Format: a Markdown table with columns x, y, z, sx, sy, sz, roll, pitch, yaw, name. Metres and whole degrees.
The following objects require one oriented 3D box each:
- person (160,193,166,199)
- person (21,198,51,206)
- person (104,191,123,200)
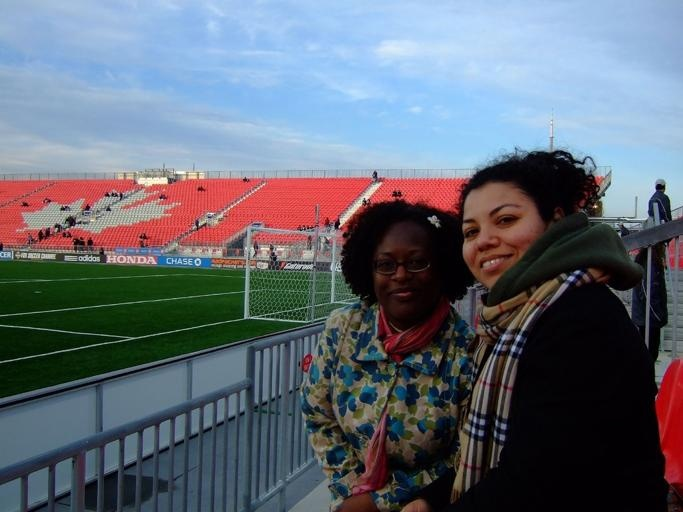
| x | y | z | sx | sy | sz | roll | pitch | yaw | name |
| --- | --- | --- | --- | --- | --- | --- | --- | --- | --- |
| -14.790 | -4.960 | 43.700 | 0.574 | 0.451 | 1.090 | 1 | 6 | -19 | person |
| -26.595 | -4.709 | 45.885 | 3.019 | 0.847 | 1.144 | 3 | 6 | 4 | person |
| -19.492 | -5.177 | 45.208 | 2.218 | 0.627 | 0.962 | 7 | 7 | 34 | person |
